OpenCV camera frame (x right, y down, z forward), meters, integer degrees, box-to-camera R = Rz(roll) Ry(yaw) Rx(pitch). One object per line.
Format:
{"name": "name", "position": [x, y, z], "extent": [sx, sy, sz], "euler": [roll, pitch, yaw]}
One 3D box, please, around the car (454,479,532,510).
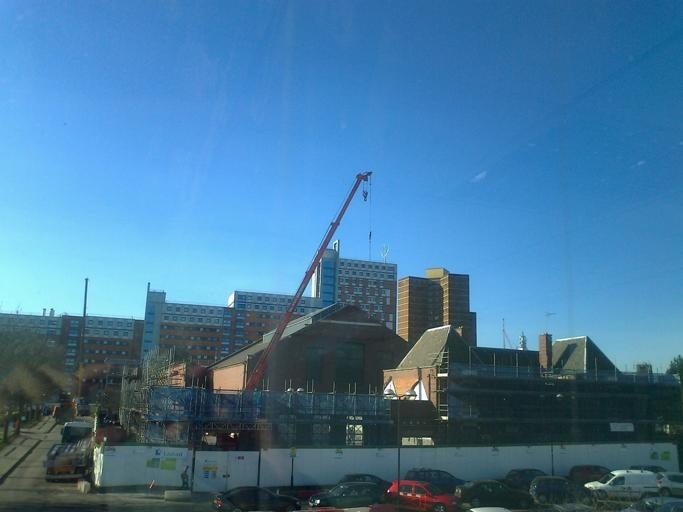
{"name": "car", "position": [11.813, 18.487, 51.139], "extent": [5.546, 1.998, 0.844], "euler": [1, -15, -4]}

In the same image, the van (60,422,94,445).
{"name": "van", "position": [-29.001, 19.525, 72.631], "extent": [3.438, 3.116, 5.399], "euler": [2, -18, -13]}

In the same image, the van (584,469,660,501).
{"name": "van", "position": [23.529, 19.006, 54.790], "extent": [5.847, 2.014, 2.019], "euler": [3, -16, -12]}

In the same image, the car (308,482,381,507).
{"name": "car", "position": [0.582, 18.070, 49.933], "extent": [5.381, 1.773, 1.382], "euler": [7, -17, -24]}
